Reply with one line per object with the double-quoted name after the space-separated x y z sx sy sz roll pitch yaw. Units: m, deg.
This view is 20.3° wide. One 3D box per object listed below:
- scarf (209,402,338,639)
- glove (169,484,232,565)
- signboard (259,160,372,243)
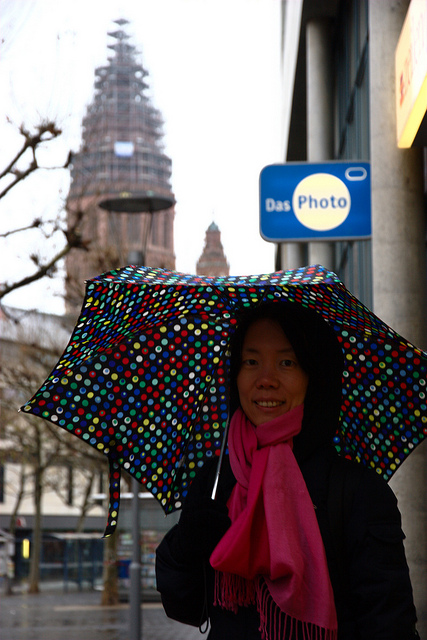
0.180 0.562 3.361 0.413 0.612 0.414 5 -1 17 "scarf"
-0.021 0.606 3.428 0.241 0.128 0.127 -20 -9 7 "glove"
0.541 -0.607 6.216 0.731 0.601 0.081 0 -1 10 "signboard"
